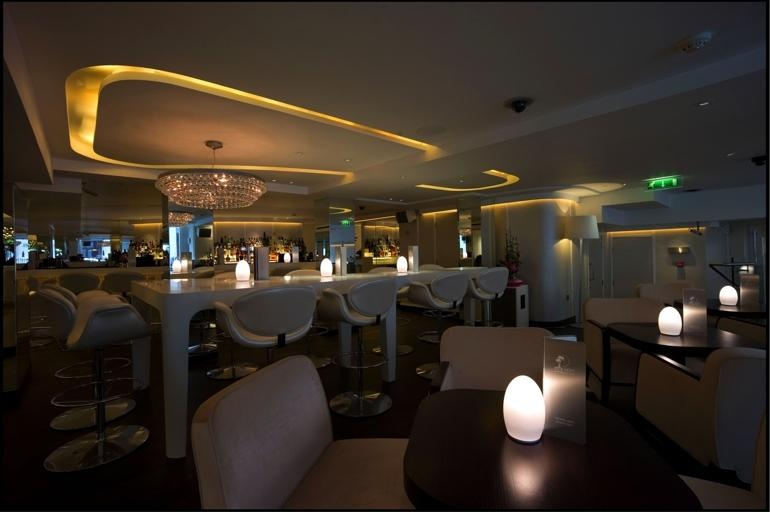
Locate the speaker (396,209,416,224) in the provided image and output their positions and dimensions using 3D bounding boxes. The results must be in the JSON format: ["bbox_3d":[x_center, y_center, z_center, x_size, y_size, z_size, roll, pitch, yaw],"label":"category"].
[{"bbox_3d":[0.485,-0.941,11.409,0.391,0.291,0.299,1,4,41],"label":"speaker"}]

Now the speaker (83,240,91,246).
[{"bbox_3d":[-6.259,-0.306,10.730,0.178,0.129,0.098,2,3,12],"label":"speaker"}]

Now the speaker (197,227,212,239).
[{"bbox_3d":[-3.129,-0.440,8.871,0.145,0.196,0.271,2,2,41],"label":"speaker"}]

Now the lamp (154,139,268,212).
[{"bbox_3d":[-2.146,-0.873,6.469,0.970,0.600,0.966,-1,-9,-6],"label":"lamp"}]

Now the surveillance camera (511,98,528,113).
[{"bbox_3d":[1.408,-1.608,5.328,0.127,0.047,0.127,1,-5,-1],"label":"surveillance camera"}]
